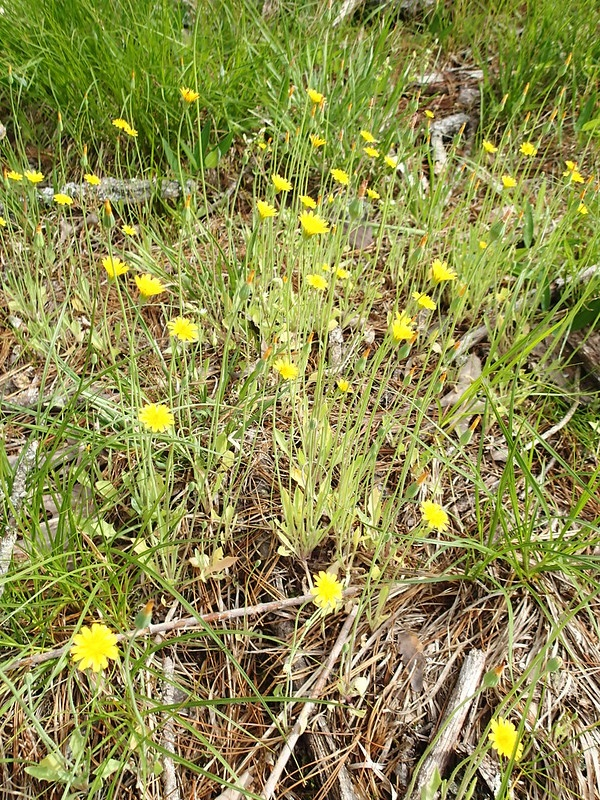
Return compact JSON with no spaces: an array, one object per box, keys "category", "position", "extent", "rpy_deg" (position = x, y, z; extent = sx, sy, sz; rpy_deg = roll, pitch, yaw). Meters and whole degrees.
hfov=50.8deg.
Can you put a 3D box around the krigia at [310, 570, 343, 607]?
[{"category":"krigia","position":[0.056,0.338,1.128],"extent":[0.018,0.069,0.072],"rpy_deg":[-6,77,-48]}]
